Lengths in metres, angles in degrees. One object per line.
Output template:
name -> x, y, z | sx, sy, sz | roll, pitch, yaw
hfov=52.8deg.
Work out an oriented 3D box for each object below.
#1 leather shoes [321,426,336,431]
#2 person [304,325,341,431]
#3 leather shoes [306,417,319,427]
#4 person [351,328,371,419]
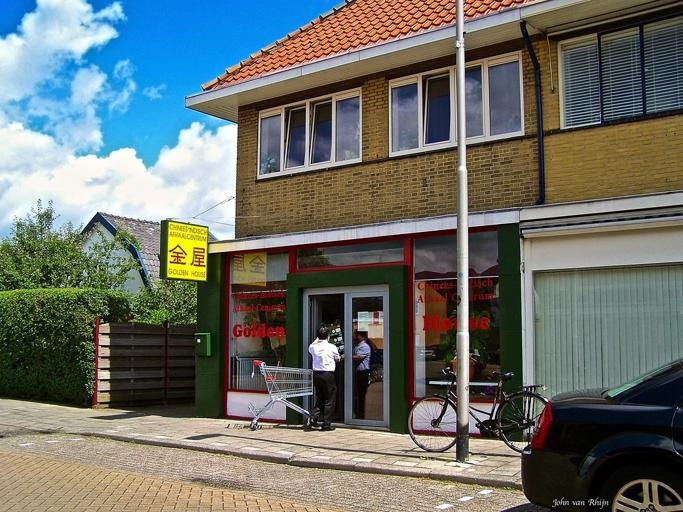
leather shoes -> -0.250, 3.546, 14.142 | 0.275, 0.122, 0.106 | 1, -3, -33
person -> -0.371, 2.542, 14.238 | 0.569, 2.094, 0.395 | -3, -5, 38
leather shoes -> -0.576, 3.450, 14.236 | 0.291, 0.154, 0.383 | 3, -3, -5
person -> 0.452, 2.496, 14.389 | 0.445, 1.826, 0.128 | -3, -5, 38
